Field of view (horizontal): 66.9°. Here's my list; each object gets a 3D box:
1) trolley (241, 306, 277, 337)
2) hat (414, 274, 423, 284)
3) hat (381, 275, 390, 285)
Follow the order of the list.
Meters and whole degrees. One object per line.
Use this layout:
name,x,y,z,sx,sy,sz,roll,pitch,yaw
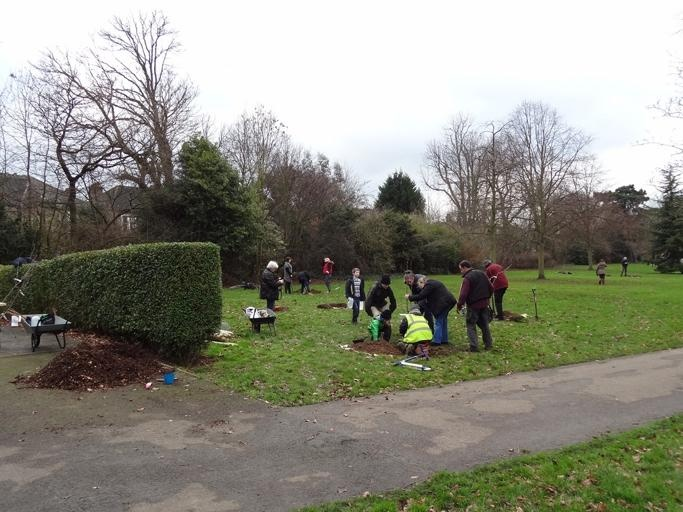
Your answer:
trolley,-2.280,1.791,14.323,0.609,0.569,0.956,1,9,-13
hat,2.013,0.561,13.569,0.223,0.224,0.167,17,-19,-6
hat,1.143,0.614,13.557,0.205,0.222,0.237,2,-4,-31
